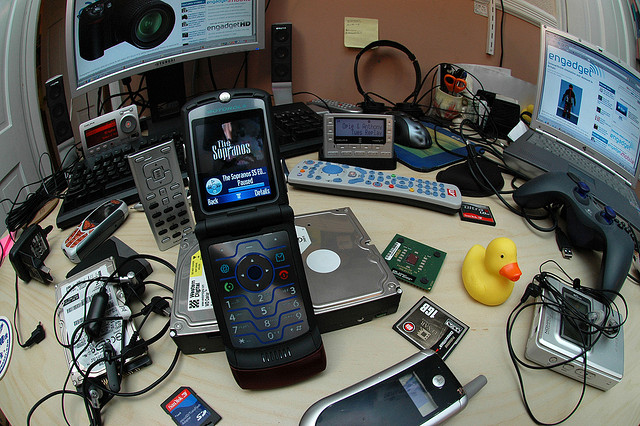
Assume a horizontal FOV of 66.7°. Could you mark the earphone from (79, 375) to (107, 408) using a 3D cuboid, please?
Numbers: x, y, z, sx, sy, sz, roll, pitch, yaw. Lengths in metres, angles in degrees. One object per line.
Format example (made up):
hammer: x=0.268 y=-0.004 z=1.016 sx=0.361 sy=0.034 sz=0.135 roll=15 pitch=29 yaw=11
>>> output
earphone: x=-0.486 y=0.385 z=1.051 sx=0.058 sy=0.024 sz=0.061 roll=-23 pitch=68 yaw=-35

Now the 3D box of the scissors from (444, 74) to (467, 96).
scissors: x=0.463 y=-0.446 z=1.672 sx=0.077 sy=0.060 sz=0.014 roll=18 pitch=49 yaw=7

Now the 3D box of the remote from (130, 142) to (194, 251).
remote: x=-0.411 y=-0.040 z=1.271 sx=0.117 sy=0.296 sz=0.034 roll=-29 pitch=45 yaw=-30

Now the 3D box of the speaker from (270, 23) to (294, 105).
speaker: x=-0.140 y=-0.535 z=1.741 sx=0.085 sy=0.276 sz=0.067 roll=1 pitch=26 yaw=-1

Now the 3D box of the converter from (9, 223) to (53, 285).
converter: x=-0.726 y=0.111 z=1.221 sx=0.086 sy=0.131 sz=0.097 roll=-22 pitch=24 yaw=-26

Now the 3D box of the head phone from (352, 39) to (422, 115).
head phone: x=0.245 y=-0.487 z=1.734 sx=0.241 sy=0.253 sz=0.258 roll=-6 pitch=22 yaw=11

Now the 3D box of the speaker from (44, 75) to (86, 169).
speaker: x=-0.744 y=-0.265 z=1.390 sx=0.085 sy=0.243 sz=0.144 roll=-24 pitch=25 yaw=-30

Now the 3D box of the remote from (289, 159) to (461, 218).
remote: x=0.160 y=-0.074 z=1.440 sx=0.495 sy=0.077 sz=0.159 roll=9 pitch=24 yaw=7

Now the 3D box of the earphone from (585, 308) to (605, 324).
earphone: x=0.639 y=0.236 z=1.130 sx=0.032 sy=0.008 sz=0.035 roll=-7 pitch=36 yaw=-1

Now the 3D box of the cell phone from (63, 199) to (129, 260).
cell phone: x=-0.601 y=0.035 z=1.310 sx=0.091 sy=0.043 sz=0.203 roll=16 pitch=51 yaw=33

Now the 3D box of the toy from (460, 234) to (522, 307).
toy: x=0.422 y=0.124 z=1.219 sx=0.137 sy=0.154 sz=0.162 roll=-2 pitch=24 yaw=20

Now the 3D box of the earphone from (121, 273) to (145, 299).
earphone: x=-0.463 y=0.170 z=1.196 sx=0.063 sy=0.032 sz=0.091 roll=-19 pitch=25 yaw=-9
